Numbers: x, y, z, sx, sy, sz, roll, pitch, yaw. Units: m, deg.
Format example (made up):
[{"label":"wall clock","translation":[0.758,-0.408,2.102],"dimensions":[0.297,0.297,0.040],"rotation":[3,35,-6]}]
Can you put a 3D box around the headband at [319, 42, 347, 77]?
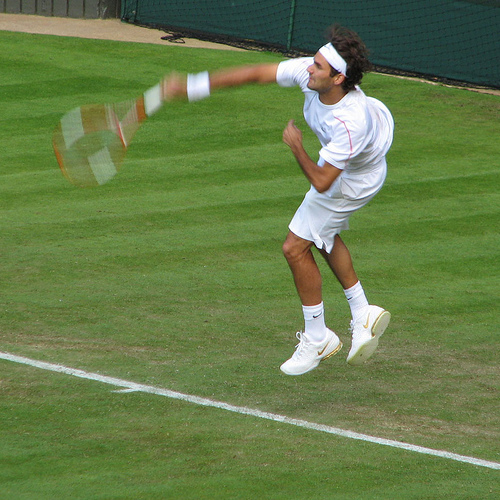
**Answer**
[{"label":"headband","translation":[0.538,-1.226,7.501],"dimensions":[0.219,0.089,0.161],"rotation":[38,13,-3]}]

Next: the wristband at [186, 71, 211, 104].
[{"label":"wristband","translation":[-0.352,-1.118,7.939],"dimensions":[0.165,0.205,0.189],"rotation":[2,21,-3]}]

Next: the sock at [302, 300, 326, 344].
[{"label":"sock","translation":[0.433,0.490,7.822],"dimensions":[0.163,0.261,0.148],"rotation":[1,23,-7]}]
